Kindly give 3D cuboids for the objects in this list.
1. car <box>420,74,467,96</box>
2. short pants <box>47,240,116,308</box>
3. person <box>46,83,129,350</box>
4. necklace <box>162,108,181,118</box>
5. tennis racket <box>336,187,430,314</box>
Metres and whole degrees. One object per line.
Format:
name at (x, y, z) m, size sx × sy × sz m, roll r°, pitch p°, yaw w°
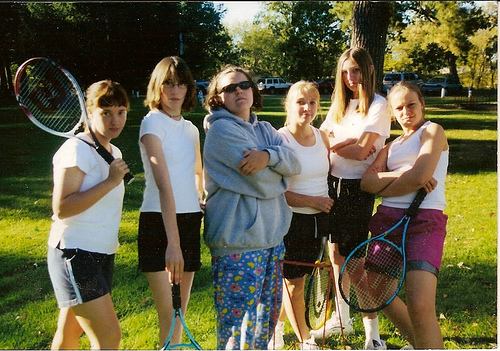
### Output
car at (7.278, -3.399, 16.616) m, size 1.695 × 0.652 × 0.788 m, roll 4°, pitch 9°, yaw 7°
short pants at (-1.445, 0.793, 3.938) m, size 0.493 × 0.541 × 0.689 m, roll -4°, pitch 7°, yaw -7°
person at (-1.353, 0.382, 3.758) m, size 0.768 × 2.343 × 0.586 m, roll -5°, pitch 8°, yaw -24°
necklace at (-0.701, -0.559, 3.960) m, size 0.159 × 0.081 × 0.078 m, roll -4°, pitch 8°, yaw -15°
tennis racket at (1.270, 0.685, 4.163) m, size 0.529 × 1.462 × 0.098 m, roll 41°, pitch 1°, yaw 19°
